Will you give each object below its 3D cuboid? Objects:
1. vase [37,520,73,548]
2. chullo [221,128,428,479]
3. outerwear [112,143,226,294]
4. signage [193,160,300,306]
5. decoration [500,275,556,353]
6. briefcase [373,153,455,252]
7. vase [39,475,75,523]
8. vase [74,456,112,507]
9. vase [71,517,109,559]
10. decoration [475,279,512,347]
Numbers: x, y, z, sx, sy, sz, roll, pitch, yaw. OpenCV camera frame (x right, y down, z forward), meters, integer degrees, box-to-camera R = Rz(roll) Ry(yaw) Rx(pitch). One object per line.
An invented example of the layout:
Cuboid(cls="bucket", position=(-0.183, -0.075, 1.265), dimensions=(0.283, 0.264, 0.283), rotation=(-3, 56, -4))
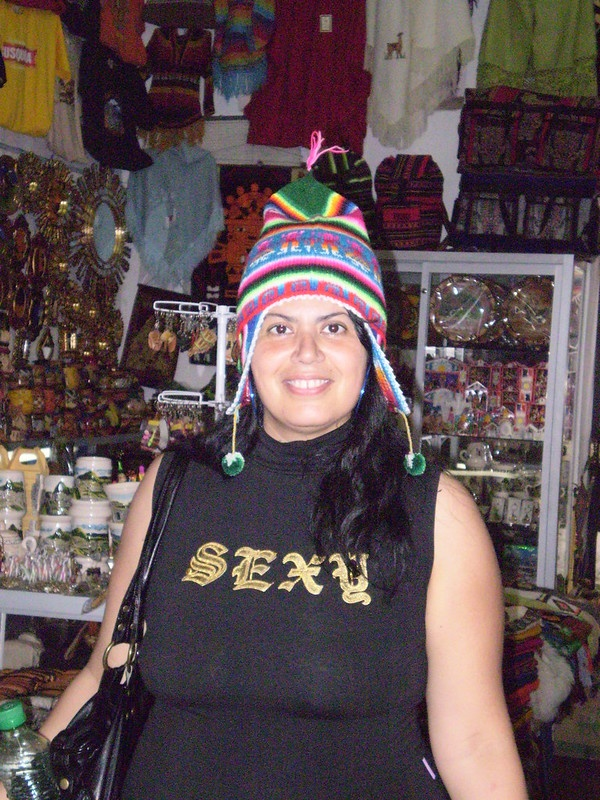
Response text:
Cuboid(cls="vase", position=(-0.720, 0.385, 2.077), dimensions=(0.077, 0.102, 0.080), rotation=(-3, -9, 40))
Cuboid(cls="chullo", position=(0.010, -0.174, 1.181), dimensions=(0.230, 0.607, 0.168), rotation=(2, -10, 2))
Cuboid(cls="outerwear", position=(-0.786, -1.168, 4.458), dimensions=(0.629, 1.019, 0.089), rotation=(-3, -25, -2))
Cuboid(cls="signage", position=(-0.299, -1.081, 4.550), dimensions=(0.601, 0.910, 0.016), rotation=(-3, 36, -14))
Cuboid(cls="decoration", position=(1.246, -0.463, 3.915), dimensions=(0.295, 0.346, 0.073), rotation=(5, 13, 39))
Cuboid(cls="briefcase", position=(0.662, -1.095, 4.258), dimensions=(0.523, 0.881, 0.444), rotation=(1, 10, 17))
Cuboid(cls="vase", position=(-0.730, 0.303, 2.123), dimensions=(0.108, 0.129, 0.104), rotation=(6, -6, -37))
Cuboid(cls="vase", position=(-0.610, 0.245, 2.098), dimensions=(0.101, 0.136, 0.111), rotation=(2, 1, 0))
Cuboid(cls="vase", position=(-0.612, 0.402, 2.063), dimensions=(0.101, 0.132, 0.111), rotation=(0, -1, 2))
Cuboid(cls="decoration", position=(1.137, -0.502, 4.135), dimensions=(0.063, 0.308, 0.235), rotation=(-1, 5, -32))
